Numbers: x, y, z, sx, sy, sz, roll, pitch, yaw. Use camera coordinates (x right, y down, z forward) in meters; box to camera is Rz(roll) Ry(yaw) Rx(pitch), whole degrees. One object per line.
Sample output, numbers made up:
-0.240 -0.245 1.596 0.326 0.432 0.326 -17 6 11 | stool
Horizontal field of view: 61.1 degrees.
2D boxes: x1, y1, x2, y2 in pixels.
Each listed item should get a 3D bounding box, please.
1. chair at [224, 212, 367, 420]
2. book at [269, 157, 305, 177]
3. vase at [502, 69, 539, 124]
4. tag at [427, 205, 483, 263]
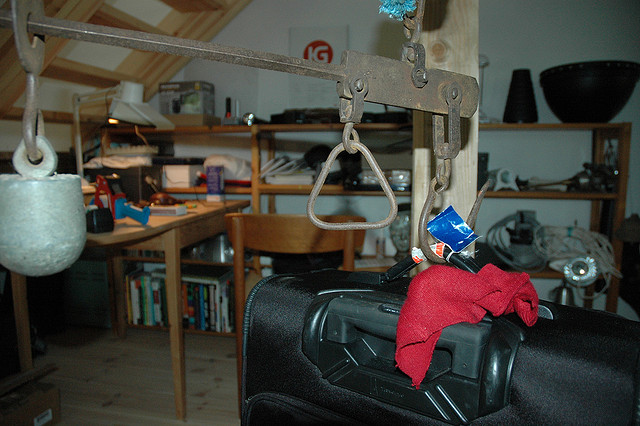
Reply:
-0.107 0.450 2.527 0.679 0.924 0.472 -5 11 4 | chair
-0.191 -0.262 3.155 0.190 0.031 0.028 -30 57 -29 | book
1.108 -0.643 3.015 0.177 0.300 0.168 -2 12 20 | vase
0.402 0.060 1.640 0.166 0.157 0.044 48 10 0 | tag
